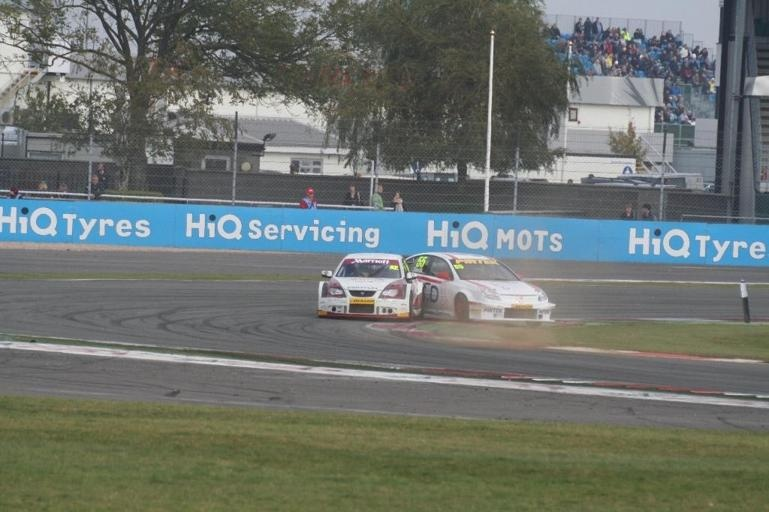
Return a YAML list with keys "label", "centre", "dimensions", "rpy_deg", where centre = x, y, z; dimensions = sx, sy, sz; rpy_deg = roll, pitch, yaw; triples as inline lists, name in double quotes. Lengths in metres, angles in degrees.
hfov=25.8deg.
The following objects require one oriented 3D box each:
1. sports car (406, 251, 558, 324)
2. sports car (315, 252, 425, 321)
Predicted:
- label: "sports car"
  centre: [2.872, 0.673, 53.335]
  dimensions: [2.812, 1.692, 5.903]
  rpy_deg: [3, 8, -25]
- label: "sports car"
  centre: [-0.293, 0.725, 53.300]
  dimensions: [3.056, 1.661, 4.819]
  rpy_deg: [2, 8, 7]
